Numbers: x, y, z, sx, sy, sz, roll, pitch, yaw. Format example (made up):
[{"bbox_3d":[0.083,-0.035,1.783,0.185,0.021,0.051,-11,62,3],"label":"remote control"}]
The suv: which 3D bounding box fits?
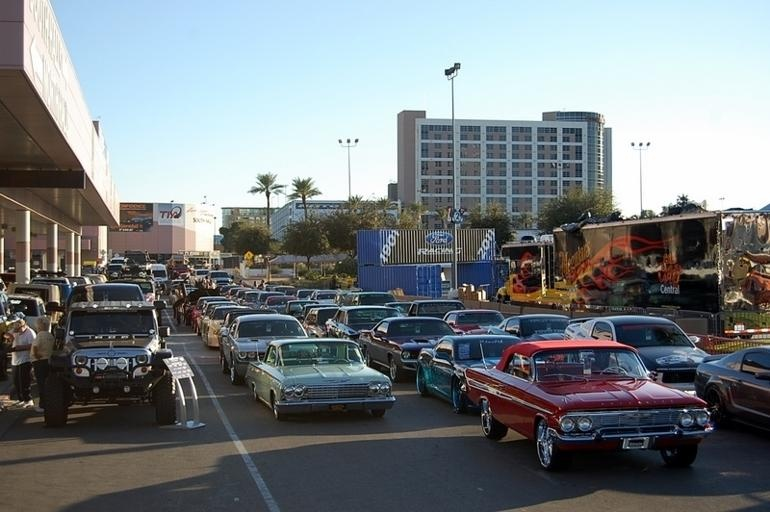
[{"bbox_3d":[-6.161,2.470,15.776,2.668,2.564,1.779,-1,3,-11],"label":"suv"}]
